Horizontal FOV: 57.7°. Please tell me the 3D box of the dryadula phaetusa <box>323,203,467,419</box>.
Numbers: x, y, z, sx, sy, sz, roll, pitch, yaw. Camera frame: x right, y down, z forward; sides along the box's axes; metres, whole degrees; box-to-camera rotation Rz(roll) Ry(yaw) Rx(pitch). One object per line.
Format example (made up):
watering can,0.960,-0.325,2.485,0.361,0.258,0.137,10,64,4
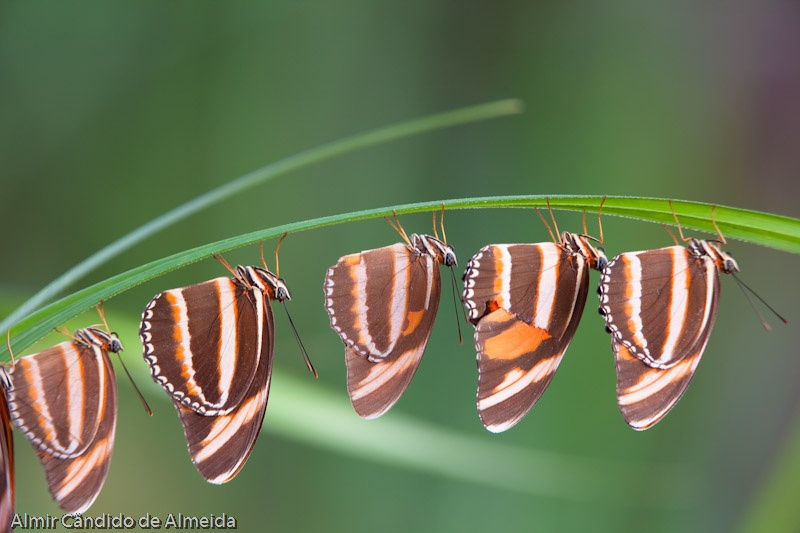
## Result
dryadula phaetusa,-0.013,0.134,2.063,0.373,0.551,0.195,-5,5,-2
